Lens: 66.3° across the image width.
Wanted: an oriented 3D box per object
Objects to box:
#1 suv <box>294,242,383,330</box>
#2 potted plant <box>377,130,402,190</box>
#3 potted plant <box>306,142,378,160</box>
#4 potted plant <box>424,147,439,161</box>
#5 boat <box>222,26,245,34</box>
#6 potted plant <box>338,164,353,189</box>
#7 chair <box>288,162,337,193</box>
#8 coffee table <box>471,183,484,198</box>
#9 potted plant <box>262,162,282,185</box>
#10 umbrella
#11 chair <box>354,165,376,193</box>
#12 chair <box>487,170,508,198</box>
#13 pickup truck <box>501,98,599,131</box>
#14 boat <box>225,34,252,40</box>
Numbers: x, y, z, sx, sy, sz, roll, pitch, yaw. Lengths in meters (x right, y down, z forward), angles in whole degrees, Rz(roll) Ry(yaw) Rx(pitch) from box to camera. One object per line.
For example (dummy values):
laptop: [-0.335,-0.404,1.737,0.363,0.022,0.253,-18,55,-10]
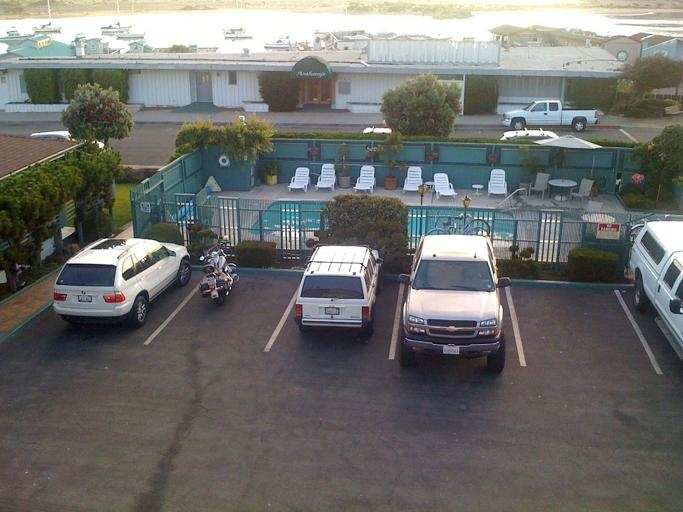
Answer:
suv: [0.025,0.753,13.617,1.315,1.205,2.571,2,29,6]
potted plant: [2.483,-4.838,26.457,1.107,2.816,0.851,0,20,5]
potted plant: [-0.040,-5.356,26.854,3.452,0.950,0.480,0,20,4]
potted plant: [4.534,-5.053,26.139,0.533,0.477,0.636,-4,30,0]
boat: [-18.610,-39.134,91.459,2.819,1.099,5.582,0,22,4]
potted plant: [0.151,-4.124,26.920,0.645,1.151,0.716,-2,20,0]
chair: [-1.386,-3.951,26.490,2.241,1.255,1.556,-3,21,-2]
coffee table: [6.803,-3.363,26.139,0.603,0.485,1.183,3,22,13]
potted plant: [-3.623,-4.372,27.791,0.960,1.109,1.037,5,21,15]
umbrella: [10.481,-4.242,24.823,2.626,2.576,2.702,22,36,39]
chair: [1.177,-3.766,25.970,0.822,1.222,1.286,4,22,14]
chair: [7.667,-3.546,25.590,0.885,1.237,1.341,6,22,20]
pickup truck: [14.910,-9.727,38.195,6.106,2.482,2.844,2,22,3]
boat: [-17.845,-37.564,89.850,3.035,1.169,1.890,-3,17,-11]
